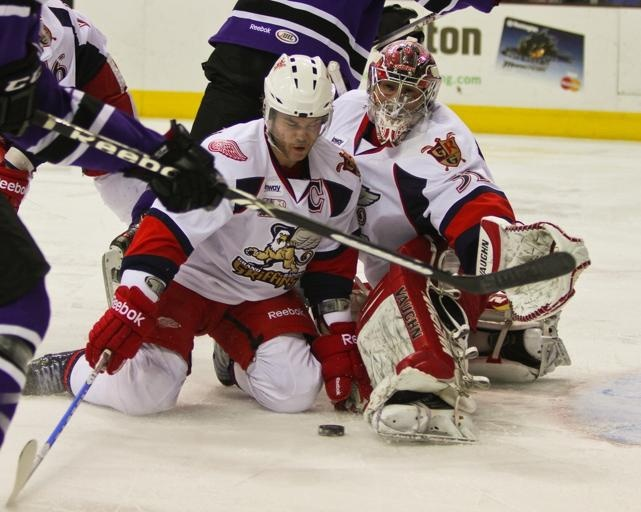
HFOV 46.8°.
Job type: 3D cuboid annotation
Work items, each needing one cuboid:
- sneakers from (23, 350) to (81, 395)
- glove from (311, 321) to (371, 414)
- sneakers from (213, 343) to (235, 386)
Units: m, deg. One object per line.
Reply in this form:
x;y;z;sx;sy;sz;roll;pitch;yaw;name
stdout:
-0.939;0.410;2.578;0.330;0.103;0.105;-7;-24;15;sneakers
0.076;0.390;2.639;0.265;0.259;0.110;-11;-34;3;glove
-0.362;0.413;2.795;0.080;0.179;0.085;-11;21;1;sneakers
